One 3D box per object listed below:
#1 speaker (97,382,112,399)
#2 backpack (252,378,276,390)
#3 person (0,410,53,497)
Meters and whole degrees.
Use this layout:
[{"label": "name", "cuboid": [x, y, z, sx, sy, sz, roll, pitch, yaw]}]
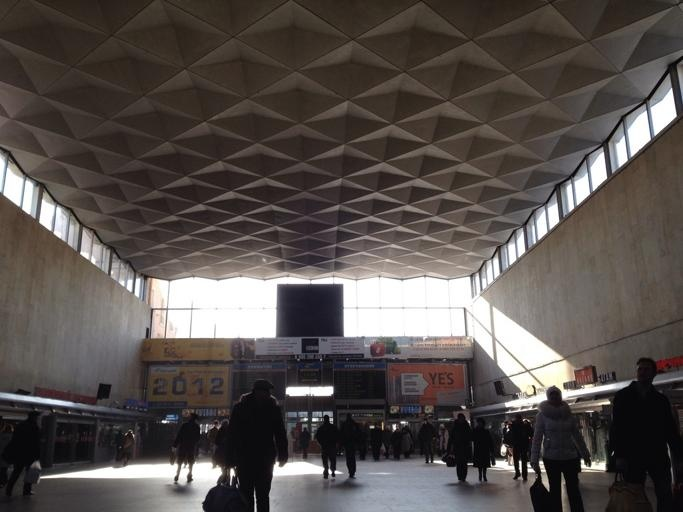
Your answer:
[{"label": "speaker", "cuboid": [-12.162, 6.880, 26.819, 0.602, 0.872, 1.871, 6, -18, -23]}, {"label": "backpack", "cuboid": [-1.064, 1.805, 7.256, 0.208, 0.108, 0.284, 0, -5, 27]}, {"label": "person", "cuboid": [-6.904, 4.250, 11.397, 0.719, 1.737, 0.903, 11, -20, -35]}]
